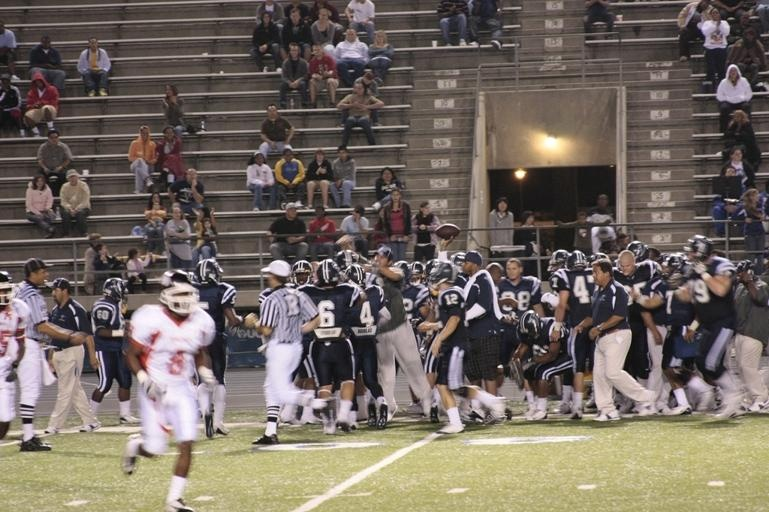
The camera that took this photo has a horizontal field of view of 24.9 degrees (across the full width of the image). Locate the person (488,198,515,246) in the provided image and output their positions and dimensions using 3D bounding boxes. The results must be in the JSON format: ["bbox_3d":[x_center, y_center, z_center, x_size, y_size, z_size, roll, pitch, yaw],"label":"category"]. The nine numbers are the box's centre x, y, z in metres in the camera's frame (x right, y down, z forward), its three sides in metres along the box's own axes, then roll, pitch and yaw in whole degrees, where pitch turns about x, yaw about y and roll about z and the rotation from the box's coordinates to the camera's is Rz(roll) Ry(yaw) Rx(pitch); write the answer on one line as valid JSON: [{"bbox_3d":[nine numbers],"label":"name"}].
[{"bbox_3d":[2.606,-0.715,39.386,0.555,1.148,1.515,-4,-4,4],"label":"person"}]

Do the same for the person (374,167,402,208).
[{"bbox_3d":[-0.016,-1.522,40.329,0.704,0.986,0.918,-3,1,35],"label":"person"}]

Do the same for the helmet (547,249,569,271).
[{"bbox_3d":[3.430,0.120,34.478,0.498,0.468,0.375,-1,5,7],"label":"helmet"}]

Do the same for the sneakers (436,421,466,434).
[{"bbox_3d":[1.220,3.225,32.439,0.538,0.220,0.188,1,-2,2],"label":"sneakers"}]

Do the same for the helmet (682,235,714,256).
[{"bbox_3d":[5.975,-0.150,33.156,0.485,0.438,0.375,37,21,27],"label":"helmet"}]

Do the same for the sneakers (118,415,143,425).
[{"bbox_3d":[-4.955,3.220,34.014,0.451,0.175,0.149,0,2,1],"label":"sneakers"}]

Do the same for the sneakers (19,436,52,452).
[{"bbox_3d":[-6.420,3.474,32.060,0.567,0.263,0.245,-1,4,-7],"label":"sneakers"}]

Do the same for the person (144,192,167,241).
[{"bbox_3d":[-5.347,-0.916,40.624,0.560,1.291,1.937,-3,-4,-8],"label":"person"}]

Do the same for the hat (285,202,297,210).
[{"bbox_3d":[-2.119,-1.098,39.202,0.193,0.080,0.267,-3,1,-22],"label":"hat"}]

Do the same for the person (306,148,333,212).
[{"bbox_3d":[-1.535,-1.760,40.876,0.682,1.365,0.451,-2,-4,-11],"label":"person"}]

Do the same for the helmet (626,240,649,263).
[{"bbox_3d":[4.921,-0.065,34.437,0.408,0.348,0.421,1,3,-36],"label":"helmet"}]

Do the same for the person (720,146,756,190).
[{"bbox_3d":[7.947,-1.850,39.776,0.891,1.129,0.622,-11,16,-32],"label":"person"}]

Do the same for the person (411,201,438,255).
[{"bbox_3d":[0.897,-0.517,38.425,0.578,1.349,0.483,-3,-4,-5],"label":"person"}]

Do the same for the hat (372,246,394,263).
[{"bbox_3d":[0.027,-0.024,33.566,0.359,0.221,0.247,24,-9,-33],"label":"hat"}]

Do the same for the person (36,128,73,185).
[{"bbox_3d":[-8.027,-2.182,42.284,0.872,1.613,0.903,-1,12,-11],"label":"person"}]

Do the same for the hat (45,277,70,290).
[{"bbox_3d":[-6.664,0.583,35.541,0.551,0.297,0.376,2,3,5],"label":"hat"}]

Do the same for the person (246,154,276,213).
[{"bbox_3d":[-2.944,-1.719,41.363,0.595,1.356,0.853,-1,-5,-29],"label":"person"}]

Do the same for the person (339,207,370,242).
[{"bbox_3d":[-0.620,-0.650,38.889,0.751,0.981,0.748,1,10,-11],"label":"person"}]

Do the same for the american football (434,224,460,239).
[{"bbox_3d":[1.376,-0.498,37.387,0.339,0.265,0.447,-3,-3,33],"label":"american football"}]

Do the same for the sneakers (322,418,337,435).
[{"bbox_3d":[-1.039,3.244,32.688,0.286,0.269,0.172,-1,1,1],"label":"sneakers"}]

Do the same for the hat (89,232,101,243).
[{"bbox_3d":[-6.586,-0.398,39.771,0.282,0.213,0.200,-9,44,-22],"label":"hat"}]

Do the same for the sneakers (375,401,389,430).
[{"bbox_3d":[-0.048,3.077,33.207,0.180,0.497,0.201,1,-7,7],"label":"sneakers"}]

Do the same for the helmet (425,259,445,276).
[{"bbox_3d":[0.882,0.214,33.730,0.276,0.323,0.363,27,-8,-27],"label":"helmet"}]

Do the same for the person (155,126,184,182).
[{"bbox_3d":[-5.159,-2.370,41.851,0.585,1.441,0.841,-3,-4,-10],"label":"person"}]

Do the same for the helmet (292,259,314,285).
[{"bbox_3d":[-1.543,0.357,32.889,0.351,0.365,0.455,-1,-2,-2],"label":"helmet"}]

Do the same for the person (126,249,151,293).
[{"bbox_3d":[-5.621,0.376,39.736,0.670,0.986,0.659,-3,10,14],"label":"person"}]

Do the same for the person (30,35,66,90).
[{"bbox_3d":[-8.616,-4.837,44.352,0.999,1.426,1.032,8,8,41],"label":"person"}]

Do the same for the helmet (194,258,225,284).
[{"bbox_3d":[-3.353,0.292,32.917,0.514,0.466,0.400,-24,22,-12],"label":"helmet"}]

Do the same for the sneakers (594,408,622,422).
[{"bbox_3d":[4.204,3.061,33.013,0.520,0.199,0.195,1,-2,-15],"label":"sneakers"}]

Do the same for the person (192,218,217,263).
[{"bbox_3d":[-4.052,-0.295,39.165,0.466,0.876,1.503,-2,27,-11],"label":"person"}]

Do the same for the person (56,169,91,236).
[{"bbox_3d":[-7.364,-1.220,41.337,0.701,1.565,0.644,-2,-4,-11],"label":"person"}]

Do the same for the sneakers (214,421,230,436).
[{"bbox_3d":[-3.083,3.255,32.778,0.268,0.281,0.282,-3,-4,-7],"label":"sneakers"}]
